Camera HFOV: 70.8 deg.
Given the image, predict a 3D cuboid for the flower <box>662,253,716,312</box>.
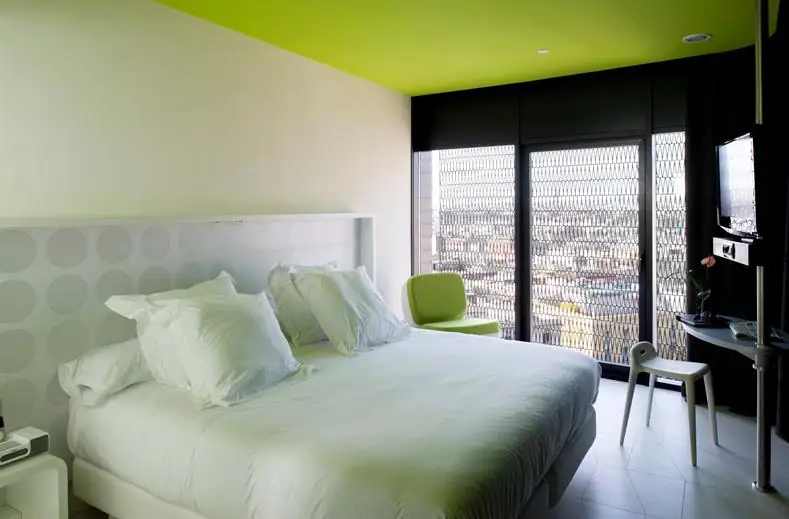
[{"bbox_3d":[2.677,0.187,5.085,0.520,0.606,0.339,-3,6,-27],"label":"flower"}]
